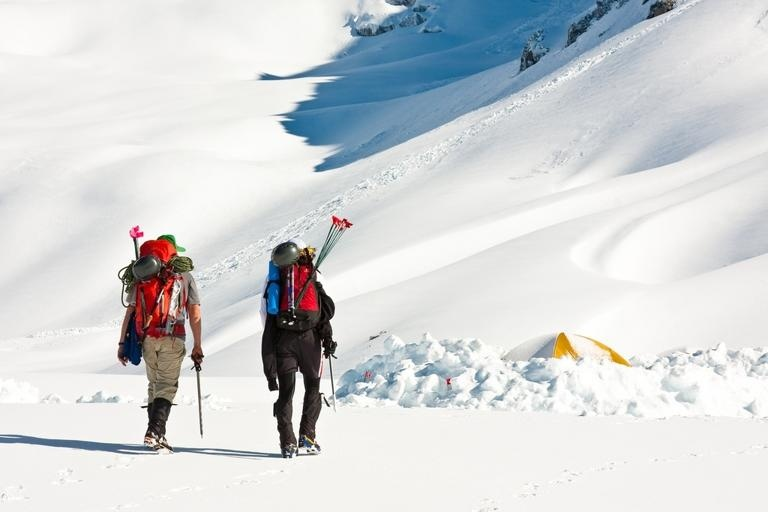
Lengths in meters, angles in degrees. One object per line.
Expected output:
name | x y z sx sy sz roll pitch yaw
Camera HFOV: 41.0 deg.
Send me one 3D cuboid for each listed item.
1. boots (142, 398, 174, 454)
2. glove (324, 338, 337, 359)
boots | -5.738 4.344 26.096 0.691 1.290 0.764 -3 -27 -21
glove | -1.398 2.364 26.708 0.382 0.492 0.215 -2 3 -4
